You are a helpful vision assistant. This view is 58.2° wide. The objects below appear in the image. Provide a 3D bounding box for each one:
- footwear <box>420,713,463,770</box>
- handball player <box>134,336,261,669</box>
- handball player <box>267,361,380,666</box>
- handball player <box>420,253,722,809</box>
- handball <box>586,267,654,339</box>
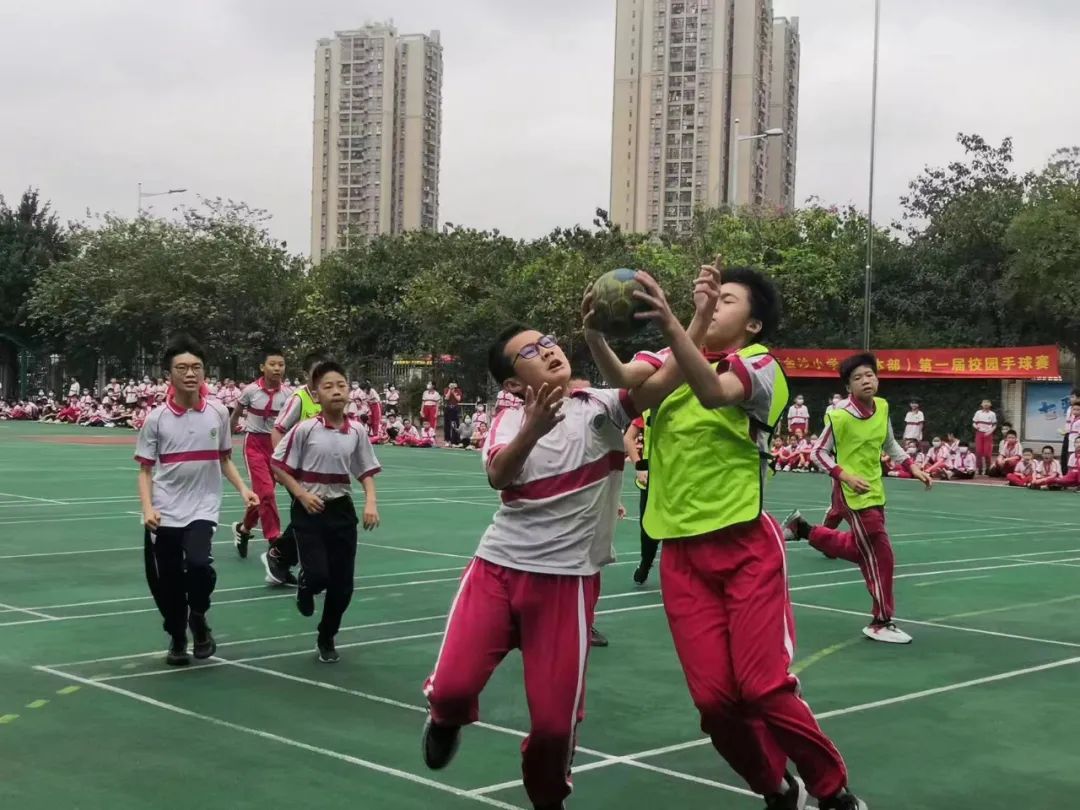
[{"bbox_3d":[-0.359,1.223,3.493,0.146,0.213,0.049,4,3,-33],"label":"footwear"},{"bbox_3d":[-2.162,0.571,5.841,0.477,2.003,0.510,-1,1,-23],"label":"handball player"},{"bbox_3d":[-1.357,0.630,6.192,0.658,1.758,0.856,0,0,-44],"label":"handball player"},{"bbox_3d":[0.040,0.479,3.550,1.170,1.935,0.698,1,0,-22],"label":"handball player"},{"bbox_3d":[0.287,-0.366,3.475,0.219,0.198,0.122,-1,1,22],"label":"handball"}]
